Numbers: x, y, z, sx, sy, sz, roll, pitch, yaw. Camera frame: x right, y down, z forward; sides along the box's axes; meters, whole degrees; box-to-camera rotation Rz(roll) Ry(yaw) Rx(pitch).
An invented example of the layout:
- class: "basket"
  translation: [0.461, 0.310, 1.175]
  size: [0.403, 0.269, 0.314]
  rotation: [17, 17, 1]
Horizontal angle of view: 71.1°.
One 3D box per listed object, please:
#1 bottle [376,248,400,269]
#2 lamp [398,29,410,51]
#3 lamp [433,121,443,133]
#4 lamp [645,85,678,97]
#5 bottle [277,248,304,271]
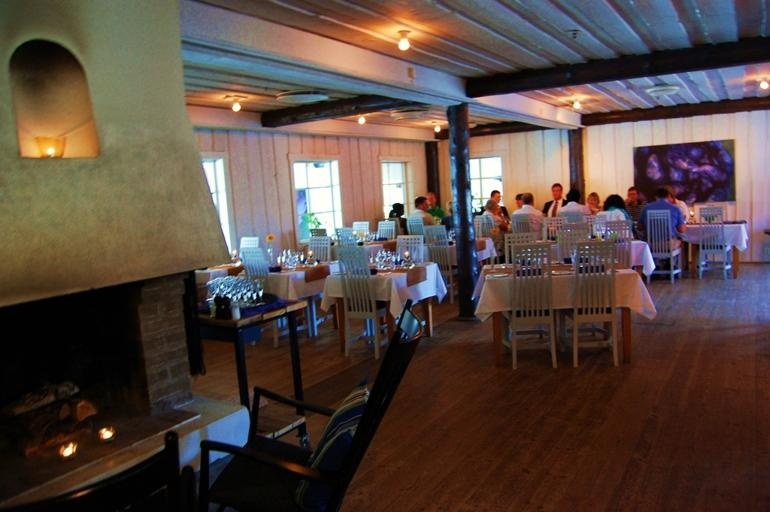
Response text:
- class: "bottle"
  translation: [-0.014, 0.050, 7.351]
  size: [0.285, 0.202, 0.254]
  rotation: [0, 9, 20]
- class: "lamp"
  translation: [0.199, -2.306, 5.778]
  size: [0.189, 0.233, 0.185]
  rotation: [-1, 3, 0]
- class: "lamp"
  translation: [1.260, -3.120, 13.048]
  size: [0.240, 0.226, 0.286]
  rotation: [3, -24, 5]
- class: "lamp"
  translation: [4.477, -2.717, 8.746]
  size: [0.428, 0.143, 0.668]
  rotation: [2, 12, 25]
- class: "bottle"
  translation: [-1.471, 0.073, 7.991]
  size: [0.442, 0.297, 0.433]
  rotation: [-1, 6, 0]
